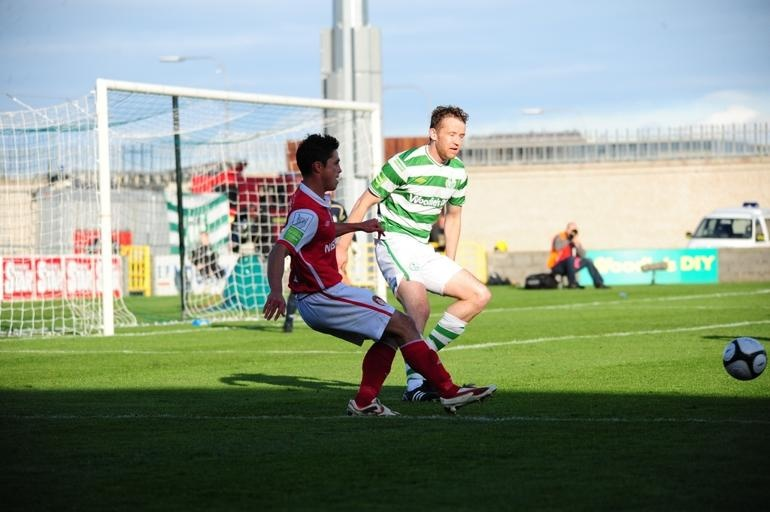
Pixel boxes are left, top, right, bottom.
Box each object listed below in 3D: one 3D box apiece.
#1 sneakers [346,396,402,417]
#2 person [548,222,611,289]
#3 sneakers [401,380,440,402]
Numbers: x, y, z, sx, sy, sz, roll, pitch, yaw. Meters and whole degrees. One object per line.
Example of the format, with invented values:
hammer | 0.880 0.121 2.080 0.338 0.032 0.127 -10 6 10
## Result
sneakers | -0.147 1.646 13.516 0.651 0.234 0.204 2 -2 -6
person | 4.404 -0.032 28.721 0.679 1.471 1.472 -6 7 -37
sneakers | 0.412 1.554 14.046 0.451 0.181 0.167 -5 -8 23
